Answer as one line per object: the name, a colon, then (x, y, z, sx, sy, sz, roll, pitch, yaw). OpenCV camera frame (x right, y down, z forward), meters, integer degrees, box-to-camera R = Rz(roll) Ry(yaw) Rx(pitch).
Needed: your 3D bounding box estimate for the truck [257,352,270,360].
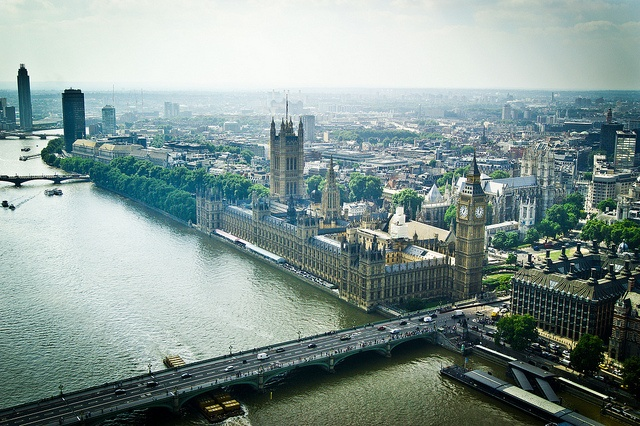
truck: (-13.895, 34.889, 151.404, 1.954, 0.847, 1.237, -10, 24, -25)

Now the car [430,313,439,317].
car: (31.599, 28.270, 171.953, 1.213, 0.657, 2.422, 6, 14, 29)

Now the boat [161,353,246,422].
boat: (-28.355, 41.450, 147.981, 8.080, 2.682, 26.567, -8, 20, -32)

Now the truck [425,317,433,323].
truck: (29.605, 29.072, 169.988, 2.204, 0.960, 2.287, 1, 13, 9)

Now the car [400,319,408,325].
car: (22.620, 29.598, 168.466, 1.847, 0.644, 3.153, 3, 13, 15)

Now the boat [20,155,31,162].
boat: (-191.006, -35.055, 401.753, 2.411, 2.920, 8.486, -22, 10, -3)

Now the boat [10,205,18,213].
boat: (-134.483, -1.462, 272.699, 3.182, 1.103, 3.352, 5, 12, 0)

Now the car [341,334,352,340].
car: (6.562, 32.167, 160.757, 2.064, 0.644, 3.346, 9, 15, 36)

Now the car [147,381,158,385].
car: (-38.231, 38.863, 141.859, 2.075, 0.760, 1.115, -3, 13, -9)
